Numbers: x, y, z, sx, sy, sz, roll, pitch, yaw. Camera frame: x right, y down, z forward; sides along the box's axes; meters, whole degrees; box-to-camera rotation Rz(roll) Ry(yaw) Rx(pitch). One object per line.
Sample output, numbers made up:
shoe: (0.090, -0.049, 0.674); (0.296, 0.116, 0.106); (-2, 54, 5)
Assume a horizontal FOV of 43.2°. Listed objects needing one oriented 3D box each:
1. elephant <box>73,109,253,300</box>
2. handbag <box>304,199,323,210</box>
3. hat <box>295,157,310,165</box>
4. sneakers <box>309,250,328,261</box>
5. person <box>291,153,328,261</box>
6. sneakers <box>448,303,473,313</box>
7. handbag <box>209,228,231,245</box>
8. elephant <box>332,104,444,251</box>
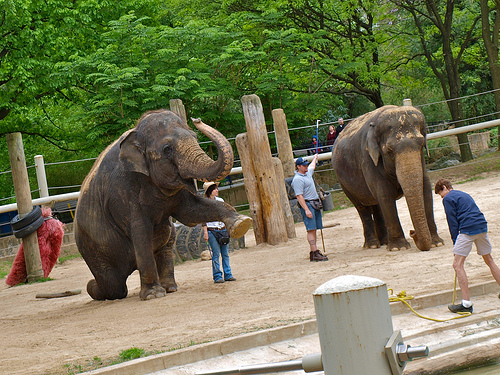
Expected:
elephant: (-1.653, 0.409, 10.642); (3.784, 3.042, 1.612); (-10, 1, 34)
handbag: (1.199, 0.296, 11.639); (0.236, 0.114, 0.194); (15, 12, 32)
hat: (0.955, -0.440, 11.582); (0.187, 0.105, 0.139); (-20, 1, 31)
sneakers: (1.246, 1.251, 11.454); (0.333, 0.147, 0.151); (-3, 2, 41)
person: (1.097, 0.407, 11.717); (0.501, 1.883, 1.141); (-6, 8, 5)
sneakers: (2.774, 1.602, 8.331); (0.293, 0.122, 0.119); (7, 3, 8)
handbag: (-0.497, 0.882, 11.103); (0.278, 0.288, 0.118); (-5, -11, -11)
elephant: (2.615, -0.102, 12.004); (1.495, 2.694, 3.370); (-6, -2, -7)
